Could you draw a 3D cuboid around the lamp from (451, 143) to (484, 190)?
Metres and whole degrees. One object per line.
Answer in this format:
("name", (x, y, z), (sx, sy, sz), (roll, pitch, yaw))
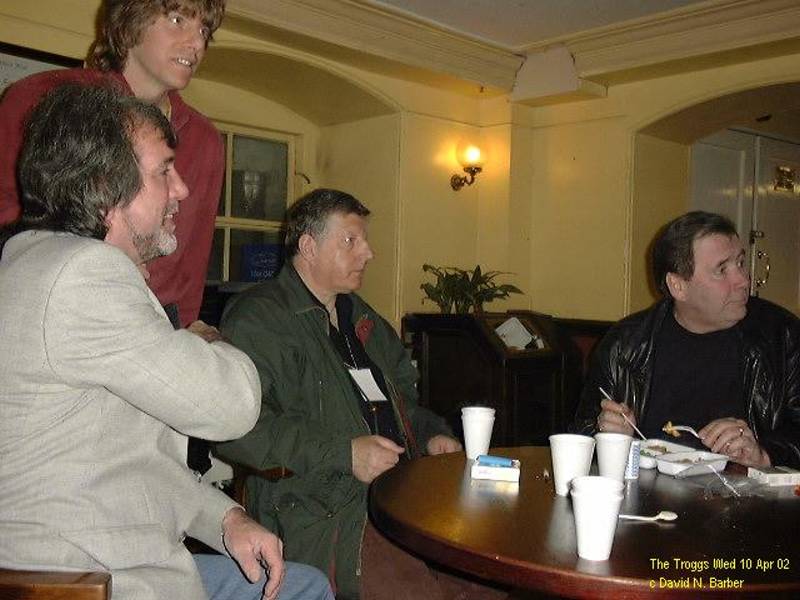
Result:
("lamp", (0.618, -1.098, 5.762), (0.215, 0.266, 0.329), (6, 3, 45))

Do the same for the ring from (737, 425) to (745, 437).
("ring", (1.077, 0.410, 2.146), (0.025, 0.040, 0.023), (4, -20, 1))

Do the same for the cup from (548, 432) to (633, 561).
("cup", (0.494, 0.479, 1.693), (0.223, 0.297, 0.217), (0, -3, 0))

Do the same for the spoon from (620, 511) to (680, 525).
("spoon", (0.637, 0.551, 1.730), (0.153, 0.017, 0.049), (-1, -1, 10))

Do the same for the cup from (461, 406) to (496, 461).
("cup", (0.254, 0.439, 2.306), (0.154, 0.189, 0.163), (-1, -2, 0))
